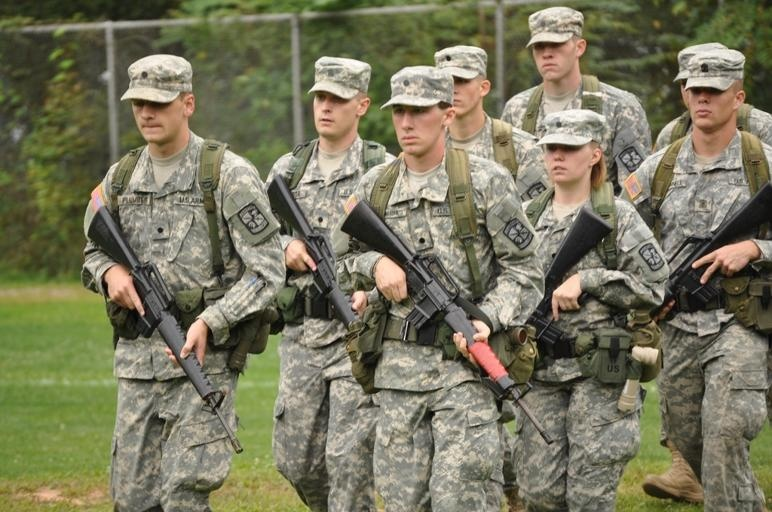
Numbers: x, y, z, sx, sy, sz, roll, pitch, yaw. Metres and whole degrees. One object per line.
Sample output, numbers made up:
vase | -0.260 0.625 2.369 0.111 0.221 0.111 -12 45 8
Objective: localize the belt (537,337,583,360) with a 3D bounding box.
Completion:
belt | 1.622 0.883 11.760 0.303 0.114 0.218 4 -11 -3

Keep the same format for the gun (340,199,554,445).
gun | 0.539 0.547 10.962 0.830 2.677 0.288 -42 -11 20

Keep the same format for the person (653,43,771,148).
person | 3.468 -1.588 13.029 0.788 1.451 1.306 -6 -13 4

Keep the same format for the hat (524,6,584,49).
hat | 1.920 -2.568 13.615 0.438 0.304 0.573 -3 -2 34

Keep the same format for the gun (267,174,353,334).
gun | -0.714 0.025 12.021 0.227 1.584 0.583 -15 -20 -43

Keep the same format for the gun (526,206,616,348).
gun | 1.739 0.242 11.583 0.471 1.338 0.218 28 16 23

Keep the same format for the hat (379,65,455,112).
hat | 0.358 -1.508 10.895 0.357 0.245 0.493 -4 -7 42

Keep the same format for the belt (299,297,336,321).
belt | -0.647 0.504 12.110 0.274 0.205 0.128 3 2 18

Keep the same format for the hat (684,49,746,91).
hat | 3.225 -1.837 12.276 0.491 0.268 0.660 1 -1 9
